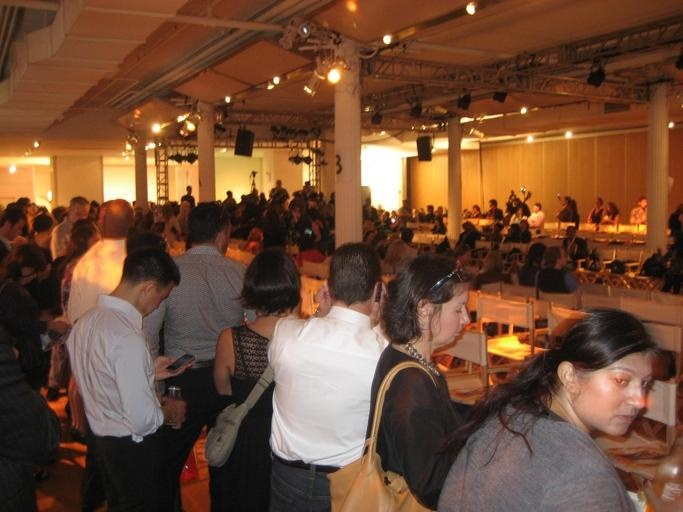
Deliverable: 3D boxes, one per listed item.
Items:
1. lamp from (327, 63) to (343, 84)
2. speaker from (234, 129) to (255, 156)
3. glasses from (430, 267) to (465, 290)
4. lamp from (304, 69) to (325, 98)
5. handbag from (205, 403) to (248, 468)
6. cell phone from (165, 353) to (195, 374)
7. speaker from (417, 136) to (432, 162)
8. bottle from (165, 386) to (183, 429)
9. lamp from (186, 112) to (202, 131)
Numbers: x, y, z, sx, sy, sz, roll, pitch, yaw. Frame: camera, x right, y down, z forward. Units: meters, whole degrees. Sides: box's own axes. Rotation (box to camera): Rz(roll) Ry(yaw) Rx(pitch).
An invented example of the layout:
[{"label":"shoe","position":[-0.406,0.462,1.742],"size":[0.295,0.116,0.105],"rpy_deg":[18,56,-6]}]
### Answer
[{"label":"lamp","position":[-0.108,-2.555,7.577],"size":[0.094,0.276,0.194],"rpy_deg":[10,24,42]},{"label":"speaker","position":[-2.559,-3.075,14.466],"size":[0.428,0.815,1.400],"rpy_deg":[-1,6,-7]},{"label":"glasses","position":[0.395,0.083,2.006],"size":[0.084,0.027,0.089],"rpy_deg":[-34,-2,9]},{"label":"lamp","position":[-0.384,-2.637,8.028],"size":[0.240,0.395,0.905],"rpy_deg":[-1,6,-7]},{"label":"handbag","position":[-0.579,0.922,2.731],"size":[0.222,0.371,0.131],"rpy_deg":[1,5,23]},{"label":"cell phone","position":[-0.866,0.582,3.013],"size":[0.128,0.065,0.198],"rpy_deg":[0,6,10]},{"label":"speaker","position":[2.551,-3.295,16.414],"size":[0.416,0.719,0.886],"rpy_deg":[0,5,7]},{"label":"bottle","position":[-0.927,0.827,3.037],"size":[0.083,0.201,0.325],"rpy_deg":[-2,6,-17]},{"label":"lamp","position":[-3.528,-3.225,12.962],"size":[0.389,0.389,0.766],"rpy_deg":[-3,6,-20]}]
